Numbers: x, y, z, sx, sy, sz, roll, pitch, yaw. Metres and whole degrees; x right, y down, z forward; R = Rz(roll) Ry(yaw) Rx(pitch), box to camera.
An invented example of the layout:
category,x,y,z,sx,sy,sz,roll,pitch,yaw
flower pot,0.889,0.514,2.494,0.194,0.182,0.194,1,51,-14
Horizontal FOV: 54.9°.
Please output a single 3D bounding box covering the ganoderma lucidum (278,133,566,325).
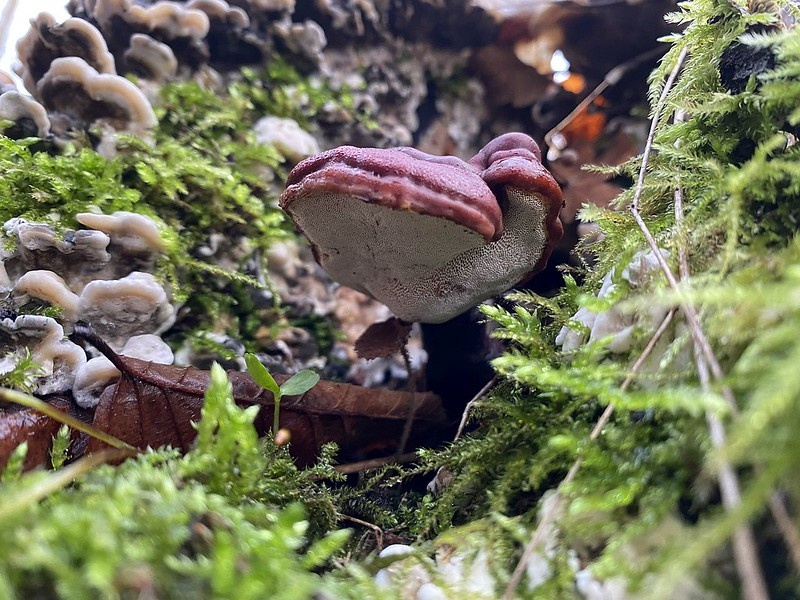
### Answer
category,x,y,z,sx,sy,sz,roll,pitch,yaw
ganoderma lucidum,0.081,-0.190,2.188,0.697,0.545,0.359,15,72,-7
